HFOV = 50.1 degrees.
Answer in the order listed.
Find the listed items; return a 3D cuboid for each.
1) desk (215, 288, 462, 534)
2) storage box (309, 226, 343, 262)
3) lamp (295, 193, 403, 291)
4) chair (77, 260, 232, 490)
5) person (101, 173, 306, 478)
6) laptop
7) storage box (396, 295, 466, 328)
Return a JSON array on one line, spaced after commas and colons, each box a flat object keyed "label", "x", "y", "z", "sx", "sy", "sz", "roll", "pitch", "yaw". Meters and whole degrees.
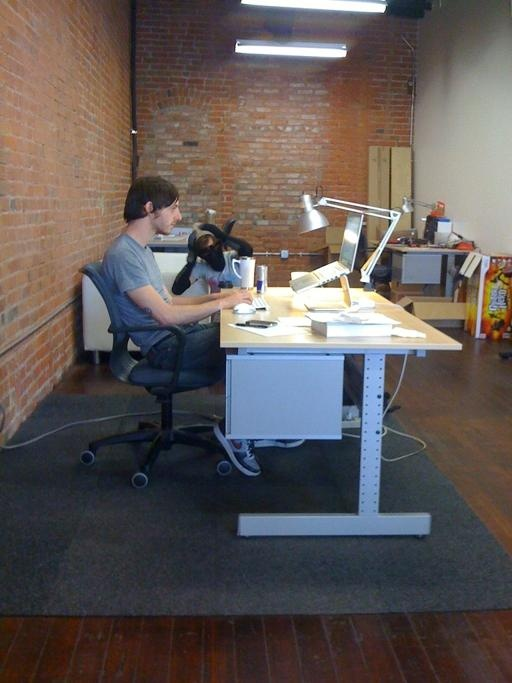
[{"label": "desk", "x": 0.236, "y": 0.259, "z": 2.007, "sx": 0.750, "sy": 0.672, "sz": 0.754, "roll": 1, "pitch": 9, "yaw": -1}, {"label": "storage box", "x": 0.955, "y": -1.238, "z": 7.245, "sx": 0.490, "sy": 0.537, "sz": 0.457, "roll": 0, "pitch": 4, "yaw": -2}, {"label": "lamp", "x": 0.398, "y": -0.441, "z": 2.425, "sx": 0.466, "sy": 0.420, "sz": 0.337, "roll": 2, "pitch": 14, "yaw": 7}, {"label": "chair", "x": -0.448, "y": 0.087, "z": 2.626, "sx": 0.828, "sy": 1.080, "sz": 0.819, "roll": 0, "pitch": 4, "yaw": -3}, {"label": "person", "x": -0.292, "y": -0.035, "z": 2.393, "sx": 0.754, "sy": 1.220, "sz": 0.501, "roll": -5, "pitch": 15, "yaw": -22}, {"label": "laptop", "x": 0.350, "y": -0.390, "z": 2.440, "sx": 0.305, "sy": 0.344, "sz": 0.414, "roll": 1, "pitch": 10, "yaw": -1}, {"label": "storage box", "x": 1.697, "y": -0.304, "z": 5.422, "sx": 0.633, "sy": 0.265, "sz": 0.463, "roll": 0, "pitch": 11, "yaw": -1}]
